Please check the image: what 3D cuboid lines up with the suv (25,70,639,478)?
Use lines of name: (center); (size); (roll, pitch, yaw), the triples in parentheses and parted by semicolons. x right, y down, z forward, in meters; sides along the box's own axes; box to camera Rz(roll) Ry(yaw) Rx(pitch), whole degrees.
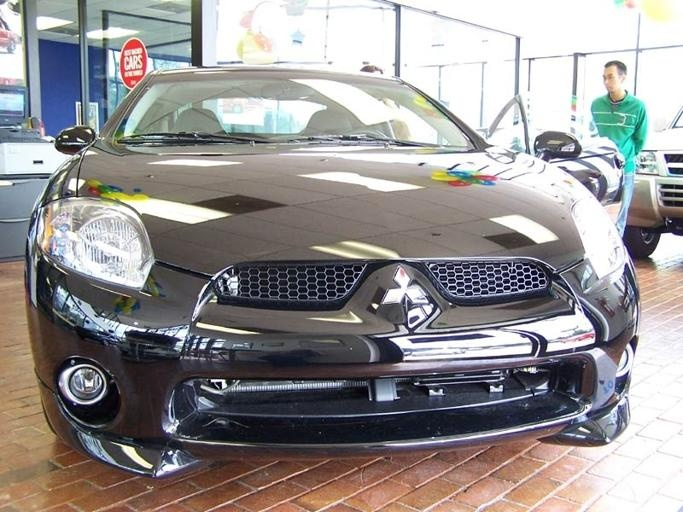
suv: (-0.178, -0.065, 2.131); (1.546, 0.701, 2.073); (0, 2, -12)
